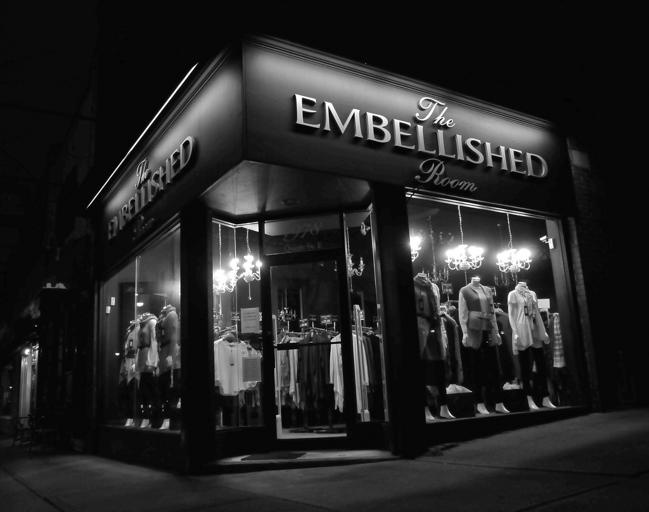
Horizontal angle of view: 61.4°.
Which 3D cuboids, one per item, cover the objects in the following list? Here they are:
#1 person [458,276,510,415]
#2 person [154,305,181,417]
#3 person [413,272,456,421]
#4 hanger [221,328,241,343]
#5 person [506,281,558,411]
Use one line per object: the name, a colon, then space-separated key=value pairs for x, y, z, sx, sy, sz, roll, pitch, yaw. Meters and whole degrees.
person: x=1.905 y=1.054 z=6.704 sx=0.446 sy=1.618 sz=0.377 roll=-6 pitch=-9 yaw=2
person: x=-2.009 y=1.337 z=7.021 sx=0.226 sy=1.457 sz=0.811 roll=-1 pitch=-10 yaw=-26
person: x=1.199 y=0.972 z=6.080 sx=0.263 sy=1.627 sz=0.785 roll=-7 pitch=-9 yaw=12
hanger: x=-1.128 y=0.948 z=6.531 sx=0.046 sy=0.179 sz=0.272 roll=-10 pitch=-10 yaw=27
person: x=2.611 y=1.106 z=6.969 sx=0.432 sy=1.551 sz=0.416 roll=-6 pitch=-9 yaw=2
